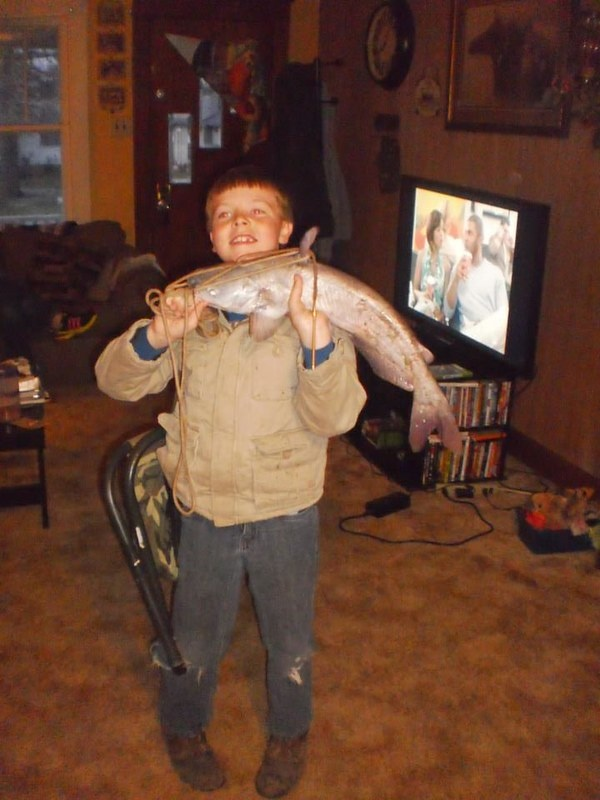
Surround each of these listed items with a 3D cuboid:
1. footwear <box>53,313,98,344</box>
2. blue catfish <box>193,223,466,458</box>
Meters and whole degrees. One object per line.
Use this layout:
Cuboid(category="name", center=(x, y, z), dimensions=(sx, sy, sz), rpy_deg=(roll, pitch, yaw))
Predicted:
Cuboid(category="footwear", center=(-1.456, -0.474, 4.509), dimensions=(0.270, 0.166, 0.083), rpy_deg=(-4, 15, -19))
Cuboid(category="blue catfish", center=(0.050, -0.125, 1.207), dimensions=(0.535, 0.228, 0.193), rpy_deg=(21, 53, -20))
